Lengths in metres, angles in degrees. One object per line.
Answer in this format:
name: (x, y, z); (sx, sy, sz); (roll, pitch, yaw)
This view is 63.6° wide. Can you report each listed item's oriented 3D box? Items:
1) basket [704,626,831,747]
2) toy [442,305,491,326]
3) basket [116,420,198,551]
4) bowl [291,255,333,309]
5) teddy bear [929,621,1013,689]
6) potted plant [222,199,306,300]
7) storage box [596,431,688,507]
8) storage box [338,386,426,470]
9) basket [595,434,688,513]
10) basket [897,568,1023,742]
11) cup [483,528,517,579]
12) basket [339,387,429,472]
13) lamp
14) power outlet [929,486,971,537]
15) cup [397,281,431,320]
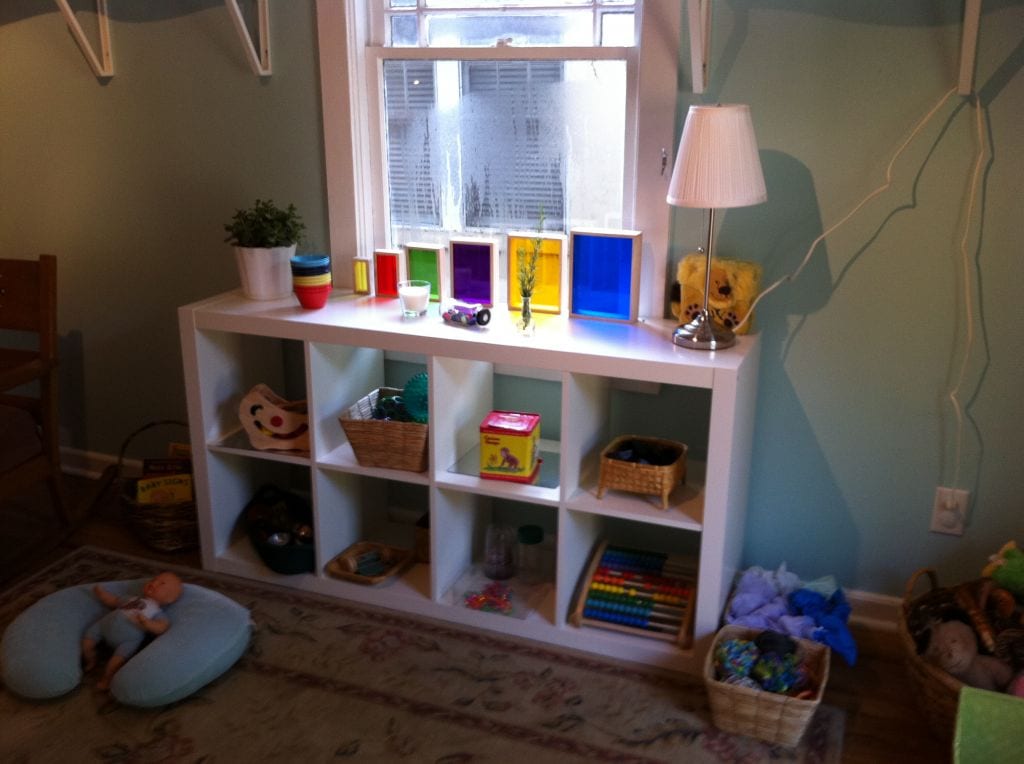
basket: (0.696, 0.871, 2.282); (0.309, 0.196, 0.249); (7, 16, 28)
toy: (-0.143, -0.201, 2.532); (0.115, 0.047, 0.064); (3, 4, 35)
basket: (-1.287, 0.372, 3.077); (0.303, 0.430, 0.336); (3, 14, -6)
bowl: (-0.659, -0.334, 2.700); (0.122, 0.161, 0.174); (-3, 24, -14)
teddy bear: (1.202, 0.725, 2.168); (0.126, 0.084, 0.061); (23, -11, -15)
potted plant: (-0.807, -0.504, 2.863); (0.314, 0.364, 0.311); (-10, 22, -29)
storage box: (0.405, 0.218, 2.486); (0.200, 0.134, 0.213); (8, 23, 22)
storage box: (-0.394, 0.149, 2.633); (0.209, 0.137, 0.264); (4, 12, 13)
basket: (0.395, 0.248, 2.487); (0.206, 0.138, 0.215); (10, 23, 27)
basket: (1.141, 0.760, 2.345); (0.327, 0.376, 0.405); (-7, 32, 7)
cup: (-0.041, 0.566, 2.804); (0.114, 0.183, 0.109); (-5, -3, 0)
basket: (-0.376, 0.134, 2.684); (0.215, 0.140, 0.273); (4, 12, 13)
lamp: (0.586, -0.448, 2.343); (0.312, 0.752, 0.343); (12, 34, 24)
power outlet: (1.327, 0.391, 2.512); (0.086, 0.146, 0.018); (6, 16, 21)
cup: (-0.304, -0.249, 2.600); (0.108, 0.116, 0.103); (3, 26, -1)
